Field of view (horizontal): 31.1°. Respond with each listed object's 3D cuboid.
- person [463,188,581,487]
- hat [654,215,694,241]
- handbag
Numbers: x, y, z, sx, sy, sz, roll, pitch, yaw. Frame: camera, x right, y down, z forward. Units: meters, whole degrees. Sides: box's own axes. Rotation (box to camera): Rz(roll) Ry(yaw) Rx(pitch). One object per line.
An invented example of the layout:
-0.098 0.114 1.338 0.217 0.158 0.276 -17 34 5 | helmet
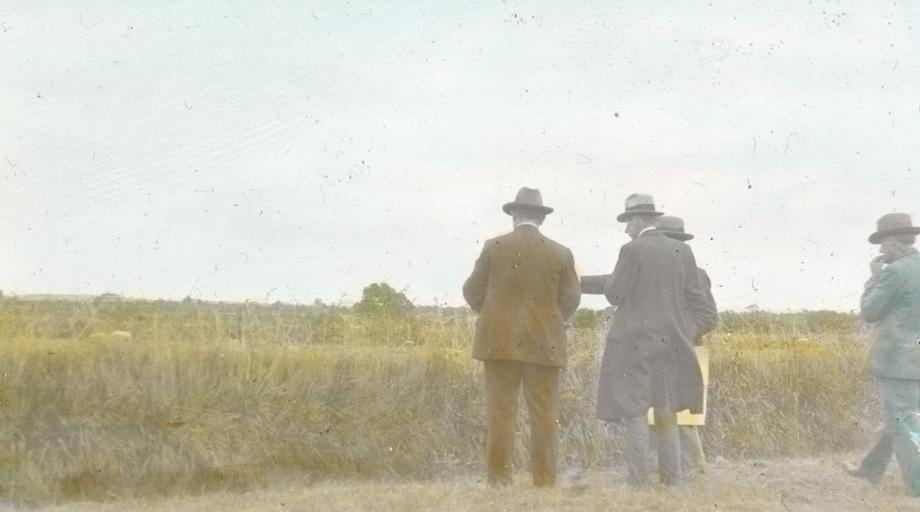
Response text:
0.869 1.122 23.336 1.483 4.087 0.903 -1 -15 1 | person
2.788 -0.390 22.304 0.594 0.216 0.552 10 -4 35 | hat
3.046 1.883 23.774 0.265 1.068 1.155 1 1 42 | handbag
